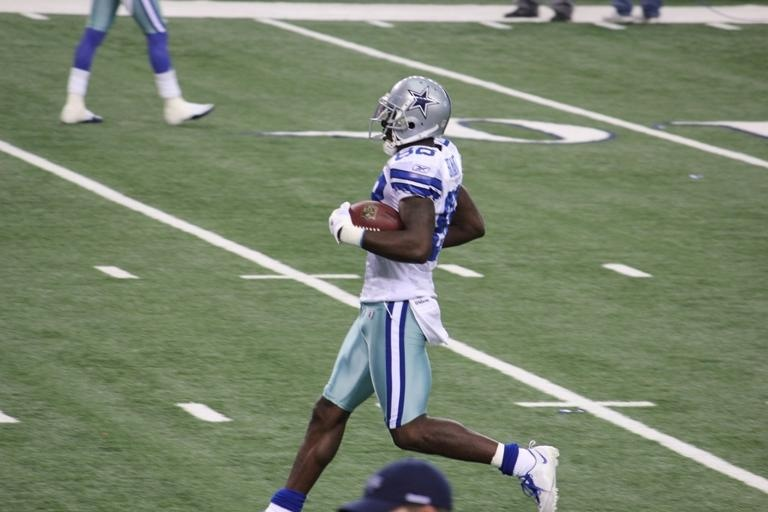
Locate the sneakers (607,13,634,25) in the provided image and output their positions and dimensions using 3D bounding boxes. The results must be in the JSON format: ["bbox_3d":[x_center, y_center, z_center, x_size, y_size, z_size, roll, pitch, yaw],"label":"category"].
[{"bbox_3d":[2.974,-2.927,21.665,0.358,0.108,0.229,7,16,4],"label":"sneakers"}]

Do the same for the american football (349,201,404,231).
[{"bbox_3d":[-0.043,-0.251,10.923,0.310,0.152,0.217,18,20,35],"label":"american football"}]

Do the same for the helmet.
[{"bbox_3d":[0.255,-0.928,11.314,0.711,0.388,0.443,5,11,8],"label":"helmet"}]

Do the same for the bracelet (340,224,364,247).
[{"bbox_3d":[-0.178,-0.131,10.907,0.196,0.138,0.086,17,21,25],"label":"bracelet"}]
